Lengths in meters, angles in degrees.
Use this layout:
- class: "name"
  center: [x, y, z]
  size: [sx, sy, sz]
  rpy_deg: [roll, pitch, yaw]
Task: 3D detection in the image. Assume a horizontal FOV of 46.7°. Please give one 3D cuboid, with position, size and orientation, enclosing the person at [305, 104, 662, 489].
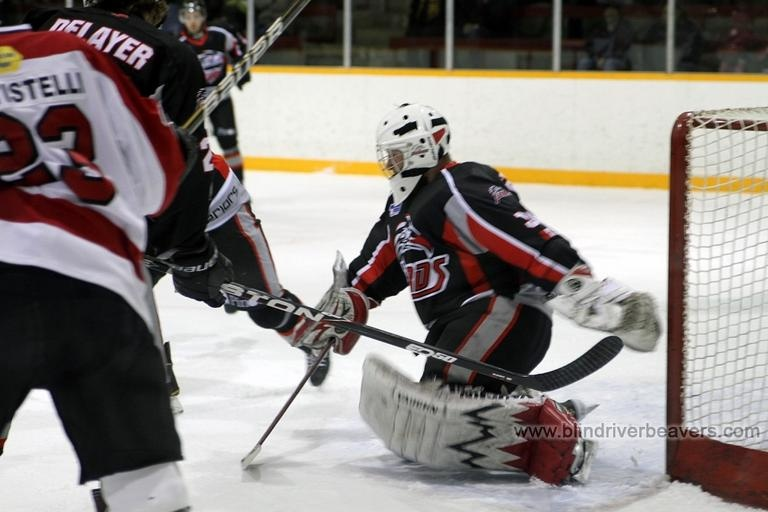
- class: "person"
  center: [0.415, 0.134, 3.037]
  size: [0.853, 1.185, 1.562]
  rpy_deg: [3, -7, -42]

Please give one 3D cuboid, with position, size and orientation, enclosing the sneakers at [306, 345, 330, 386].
- class: "sneakers"
  center: [-0.247, 0.428, 3.351]
  size: [0.081, 0.195, 0.091]
  rpy_deg: [1, 18, 5]

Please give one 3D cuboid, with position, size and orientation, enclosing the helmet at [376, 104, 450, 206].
- class: "helmet"
  center: [0.094, -0.351, 3.030]
  size: [0.360, 0.356, 0.317]
  rpy_deg: [-1, 4, -1]

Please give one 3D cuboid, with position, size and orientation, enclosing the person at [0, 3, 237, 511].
- class: "person"
  center: [-0.662, -0.095, 2.179]
  size: [0.464, 1.084, 0.771]
  rpy_deg: [0, 9, -5]
